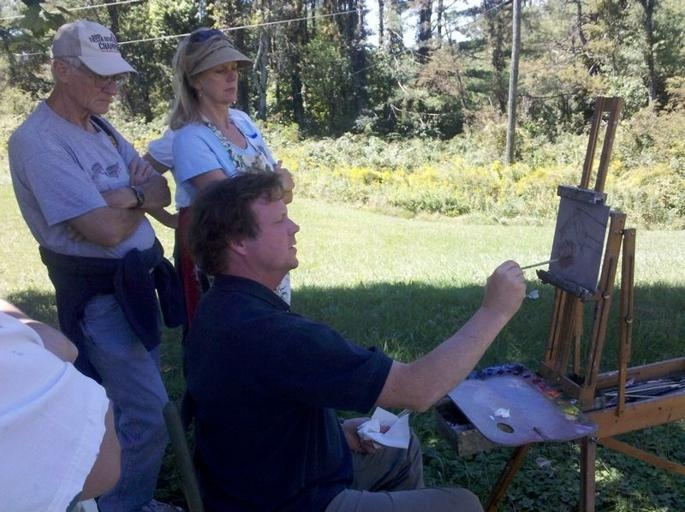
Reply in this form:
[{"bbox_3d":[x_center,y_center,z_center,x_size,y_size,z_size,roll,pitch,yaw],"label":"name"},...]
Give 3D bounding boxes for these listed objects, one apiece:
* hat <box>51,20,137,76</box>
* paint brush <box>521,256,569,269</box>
[{"bbox_3d":[-1.354,-1.130,3.269,0.401,0.236,0.283,17,24,11],"label":"hat"},{"bbox_3d":[1.733,0.054,5.221,0.091,0.119,0.437,8,-13,-37],"label":"paint brush"}]
